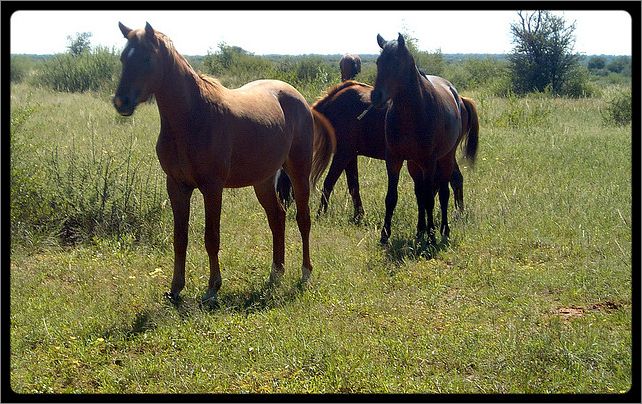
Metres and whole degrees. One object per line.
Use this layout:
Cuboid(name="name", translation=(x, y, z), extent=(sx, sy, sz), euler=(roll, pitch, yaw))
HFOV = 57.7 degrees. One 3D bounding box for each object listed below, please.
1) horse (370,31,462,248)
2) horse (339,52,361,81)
Cuboid(name="horse", translation=(1.821, -1.157, 10.980), extent=(1.272, 3.828, 2.792), euler=(9, 14, 36))
Cuboid(name="horse", translation=(0.707, -3.368, 14.649), extent=(0.487, 0.650, 0.812), euler=(3, 12, 7))
